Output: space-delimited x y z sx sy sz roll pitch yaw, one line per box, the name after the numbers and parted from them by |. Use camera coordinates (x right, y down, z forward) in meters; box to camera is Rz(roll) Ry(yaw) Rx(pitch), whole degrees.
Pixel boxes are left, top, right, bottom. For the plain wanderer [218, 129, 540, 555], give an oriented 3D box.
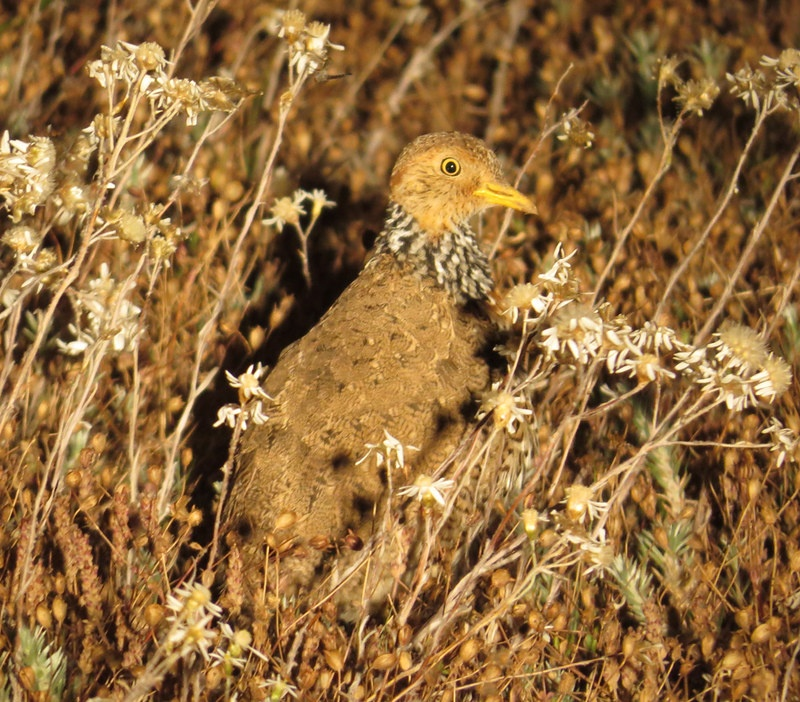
-0.052 -0.020 5.077 0.759 1.086 1.405 25 39 37 | plain wanderer

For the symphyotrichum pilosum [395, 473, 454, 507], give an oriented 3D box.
0.083 0.450 4.392 0.116 0.078 0.135 -5 -7 -3 | symphyotrichum pilosum
